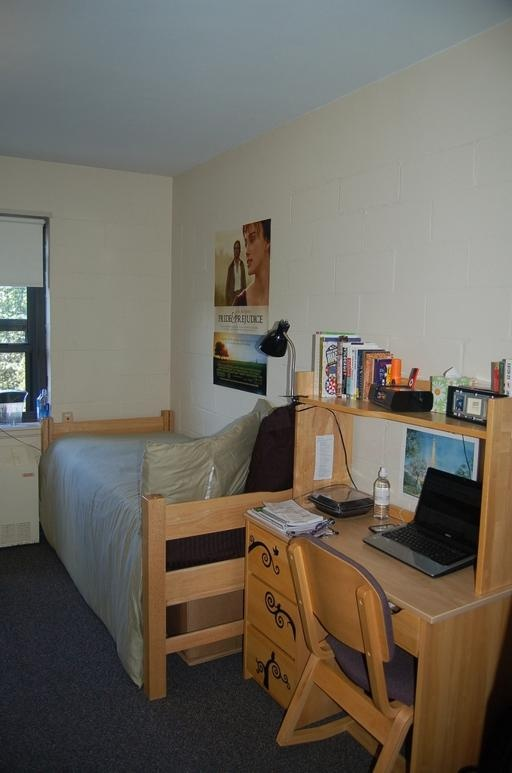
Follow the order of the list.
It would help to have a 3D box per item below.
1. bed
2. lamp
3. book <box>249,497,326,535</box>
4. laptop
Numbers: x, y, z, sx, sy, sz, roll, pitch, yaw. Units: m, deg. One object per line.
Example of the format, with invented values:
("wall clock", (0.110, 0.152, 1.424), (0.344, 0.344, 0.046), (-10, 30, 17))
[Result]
("bed", (-0.498, 0.498, 2.665), (0.787, 0.886, 1.381), (-3, 12, -33))
("lamp", (0.106, -0.105, 2.356), (0.180, 0.368, 0.126), (7, 22, 15))
("book", (0.101, 0.430, 1.814), (0.114, 0.049, 0.142), (0, 8, -30))
("laptop", (0.498, 0.355, 1.578), (0.236, 0.185, 0.247), (-1, 5, -26))
